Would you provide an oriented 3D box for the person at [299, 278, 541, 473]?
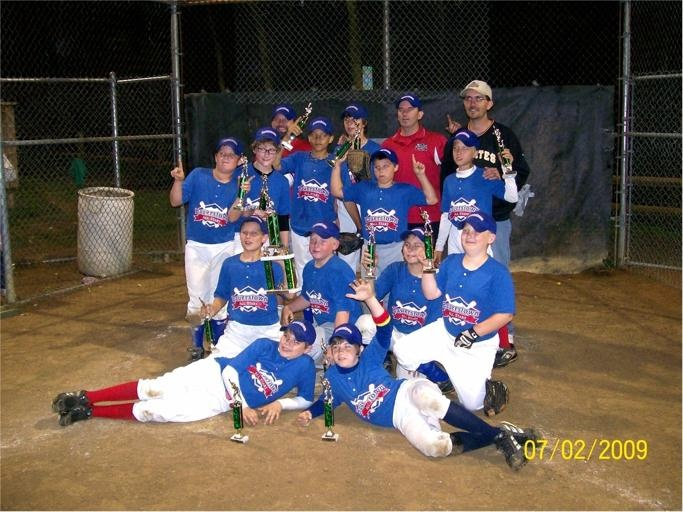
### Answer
[{"bbox_3d":[0.719,1.263,6.194,2.278,1.083,1.351,19,54,29],"label":"person"}]

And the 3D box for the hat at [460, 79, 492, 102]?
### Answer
[{"bbox_3d":[1.835,-2.298,8.306,0.307,0.212,0.426,9,-1,41],"label":"hat"}]

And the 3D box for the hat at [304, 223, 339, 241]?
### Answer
[{"bbox_3d":[-0.210,-0.311,7.394,0.197,0.143,0.287,6,-6,45],"label":"hat"}]

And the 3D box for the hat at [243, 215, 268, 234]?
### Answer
[{"bbox_3d":[-1.024,-0.400,7.427,0.191,0.241,0.246,6,8,27],"label":"hat"}]

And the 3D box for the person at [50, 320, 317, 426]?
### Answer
[{"bbox_3d":[-1.684,1.275,6.704,2.542,1.195,0.924,-1,-21,-15],"label":"person"}]

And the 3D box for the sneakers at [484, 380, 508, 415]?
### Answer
[{"bbox_3d":[1.638,1.524,6.640,0.270,0.356,0.139,-3,3,-8],"label":"sneakers"}]

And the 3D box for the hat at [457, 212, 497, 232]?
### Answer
[{"bbox_3d":[1.494,-0.358,6.788,0.409,0.249,0.287,-10,18,-32],"label":"hat"}]

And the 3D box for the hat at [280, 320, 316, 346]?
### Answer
[{"bbox_3d":[-0.452,0.825,6.650,0.230,0.184,0.320,17,-20,46],"label":"hat"}]

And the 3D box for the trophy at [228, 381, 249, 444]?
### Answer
[{"bbox_3d":[-1.079,1.588,6.364,0.176,0.580,0.420,-4,15,-11],"label":"trophy"}]

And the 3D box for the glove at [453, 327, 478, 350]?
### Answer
[{"bbox_3d":[1.291,0.864,6.456,0.251,0.156,0.092,-38,-20,33],"label":"glove"}]
